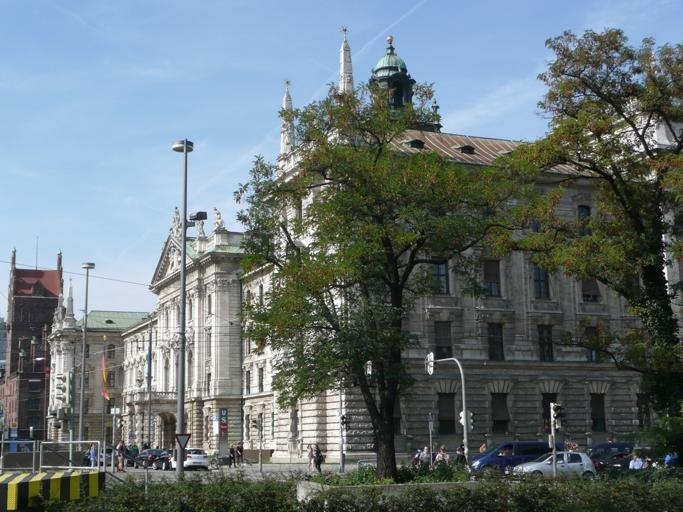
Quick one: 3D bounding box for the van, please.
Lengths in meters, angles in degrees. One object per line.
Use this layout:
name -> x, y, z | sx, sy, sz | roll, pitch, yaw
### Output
van -> 9.578, 11.354, 69.256 | 5.557, 1.922, 1.868 | 1, -10, -14
